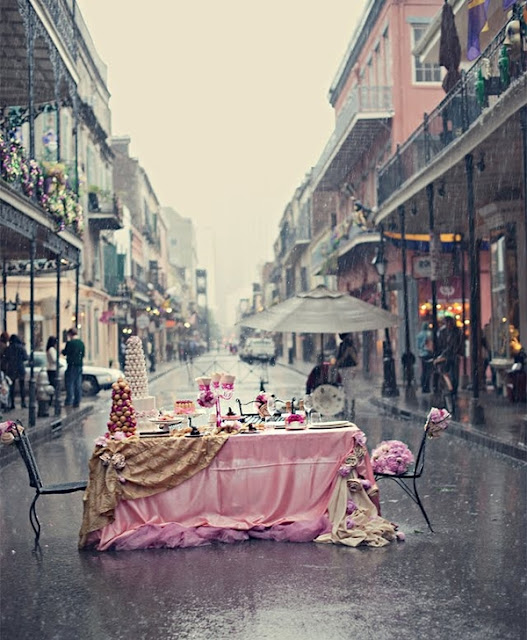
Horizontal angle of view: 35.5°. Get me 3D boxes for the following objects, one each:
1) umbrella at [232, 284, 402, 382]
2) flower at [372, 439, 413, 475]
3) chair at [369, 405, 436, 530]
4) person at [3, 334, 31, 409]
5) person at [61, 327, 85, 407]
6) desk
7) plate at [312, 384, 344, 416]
[{"bbox_3d":[0.742,-0.149,10.920,2.026,0.672,1.190,-1,-4,-24],"label":"umbrella"},{"bbox_3d":[1.175,1.234,7.562,0.234,0.270,0.314,-2,12,-7],"label":"flower"},{"bbox_3d":[1.428,1.402,7.996,0.695,1.519,0.816,2,-4,-2],"label":"chair"},{"bbox_3d":[-5.041,1.038,16.704,0.491,1.503,1.451,-1,-4,-18],"label":"person"},{"bbox_3d":[-4.047,1.033,17.520,0.410,1.662,2.347,-1,-4,-14],"label":"person"},{"bbox_3d":[-0.331,1.413,7.143,1.526,0.748,1.306,0,-6,-5],"label":"desk"},{"bbox_3d":[1.006,1.259,12.837,0.689,0.526,0.285,0,-3,-33],"label":"plate"}]
